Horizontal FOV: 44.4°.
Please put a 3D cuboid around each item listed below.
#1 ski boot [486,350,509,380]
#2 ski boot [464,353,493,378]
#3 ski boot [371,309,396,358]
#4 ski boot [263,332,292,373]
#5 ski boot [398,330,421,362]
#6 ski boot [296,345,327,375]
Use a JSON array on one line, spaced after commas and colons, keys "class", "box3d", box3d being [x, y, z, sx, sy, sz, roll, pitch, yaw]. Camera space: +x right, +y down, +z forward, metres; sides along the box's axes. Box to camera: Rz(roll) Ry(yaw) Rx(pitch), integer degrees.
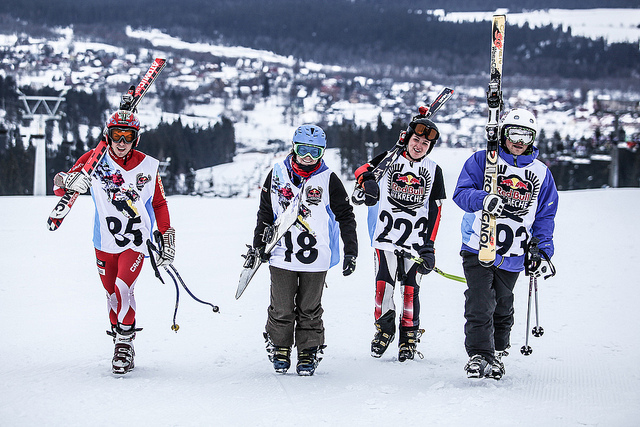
[{"class": "ski boot", "box3d": [2.501, 2.089, 10.875, 0.167, 0.365, 0.509, 2, 3, 17]}, {"class": "ski boot", "box3d": [2.163, 2.068, 10.643, 0.221, 0.315, 0.641, -2, -12, 10]}, {"class": "ski boot", "box3d": [0.942, 1.790, 11.780, 0.342, 0.669, 0.332, 1, 13, 5]}, {"class": "ski boot", "box3d": [-0.605, 1.977, 11.134, 0.373, 0.538, 0.229, -1, 13, -3]}, {"class": "ski boot", "box3d": [1.289, 1.946, 11.614, 0.200, 0.475, 0.469, 3, 2, 1]}, {"class": "ski boot", "box3d": [-0.149, 2.061, 11.061, 0.188, 0.270, 0.580, 8, 17, 9]}]
